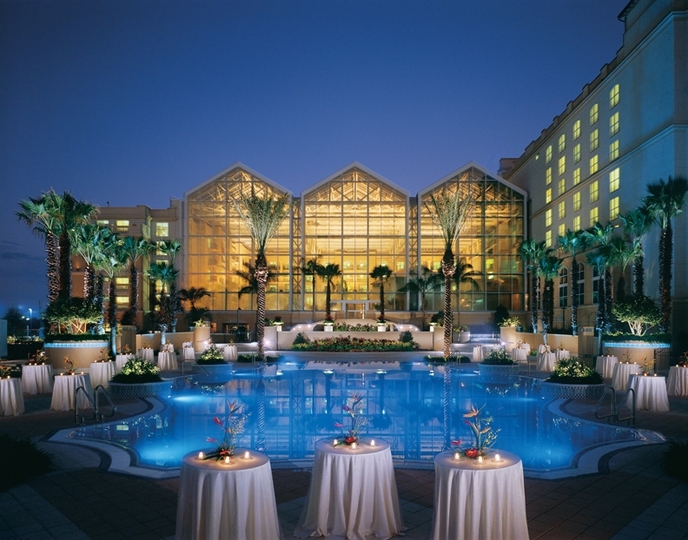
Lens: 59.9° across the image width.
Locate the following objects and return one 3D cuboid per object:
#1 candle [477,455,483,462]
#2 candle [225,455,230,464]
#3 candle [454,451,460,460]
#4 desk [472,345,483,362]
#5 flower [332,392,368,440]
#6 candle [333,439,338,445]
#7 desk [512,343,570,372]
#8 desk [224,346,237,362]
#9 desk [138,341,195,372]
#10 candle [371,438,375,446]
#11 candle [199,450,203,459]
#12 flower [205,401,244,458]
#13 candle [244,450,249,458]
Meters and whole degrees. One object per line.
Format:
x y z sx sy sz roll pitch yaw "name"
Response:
2.460 3.390 10.709 0.061 0.093 0.065 -1 -2 1 "candle"
-2.095 3.380 10.649 0.073 0.097 0.074 0 -11 -5 "candle"
2.087 3.397 10.928 0.073 0.144 0.074 0 -11 1 "candle"
8.504 5.290 37.483 0.624 0.969 0.581 -1 -8 6 "desk"
0.205 4.135 16.959 0.720 1.423 0.805 0 14 7 "flower"
-0.158 3.365 11.702 0.063 0.113 0.066 -11 -15 43 "candle"
11.800 5.203 35.491 2.586 1.137 3.814 -1 -12 16 "desk"
-7.426 5.345 38.414 0.846 0.960 0.906 -3 -6 8 "desk"
-10.605 5.061 34.143 2.395 0.966 2.445 -4 -6 41 "desk"
0.569 3.381 11.745 0.074 0.153 0.079 0 -11 -1 "candle"
-2.608 3.359 10.831 0.078 0.142 0.084 -1 -3 11 "candle"
-2.205 3.118 11.253 0.590 0.773 0.490 -6 -2 37 "flower"
-1.796 3.396 10.979 0.056 0.096 0.061 0 -1 -20 "candle"
